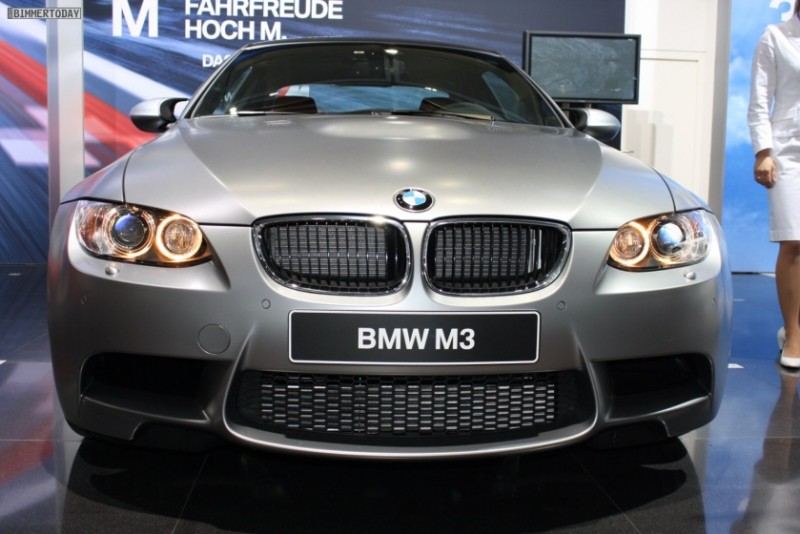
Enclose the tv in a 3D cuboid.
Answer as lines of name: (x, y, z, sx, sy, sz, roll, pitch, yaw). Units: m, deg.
tv: (1.563, -1.728, 5.805, 1.215, 0.169, 0.892, 0, 95, -4)
